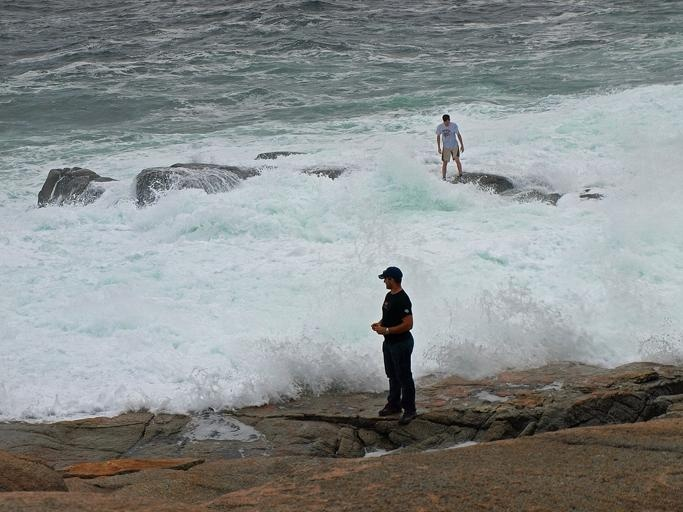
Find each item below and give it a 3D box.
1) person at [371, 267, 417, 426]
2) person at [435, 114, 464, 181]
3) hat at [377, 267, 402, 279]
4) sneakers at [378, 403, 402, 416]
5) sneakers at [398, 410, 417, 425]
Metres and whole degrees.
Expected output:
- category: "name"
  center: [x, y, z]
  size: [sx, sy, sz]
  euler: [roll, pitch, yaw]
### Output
- category: "person"
  center: [0.808, 1.392, 13.611]
  size: [0.675, 2.422, 0.989]
  euler: [-6, 19, 4]
- category: "person"
  center: [2.571, -2.647, 20.414]
  size: [0.602, 1.494, 1.476]
  euler: [-5, 16, 6]
- category: "hat"
  center: [0.781, 0.267, 13.682]
  size: [0.373, 0.131, 0.206]
  euler: [7, 5, 12]
- category: "sneakers"
  center: [0.753, 2.475, 13.809]
  size: [0.512, 0.140, 0.144]
  euler: [0, 12, -4]
- category: "sneakers"
  center: [1.047, 2.549, 13.571]
  size: [0.299, 0.201, 0.153]
  euler: [-3, 17, 4]
